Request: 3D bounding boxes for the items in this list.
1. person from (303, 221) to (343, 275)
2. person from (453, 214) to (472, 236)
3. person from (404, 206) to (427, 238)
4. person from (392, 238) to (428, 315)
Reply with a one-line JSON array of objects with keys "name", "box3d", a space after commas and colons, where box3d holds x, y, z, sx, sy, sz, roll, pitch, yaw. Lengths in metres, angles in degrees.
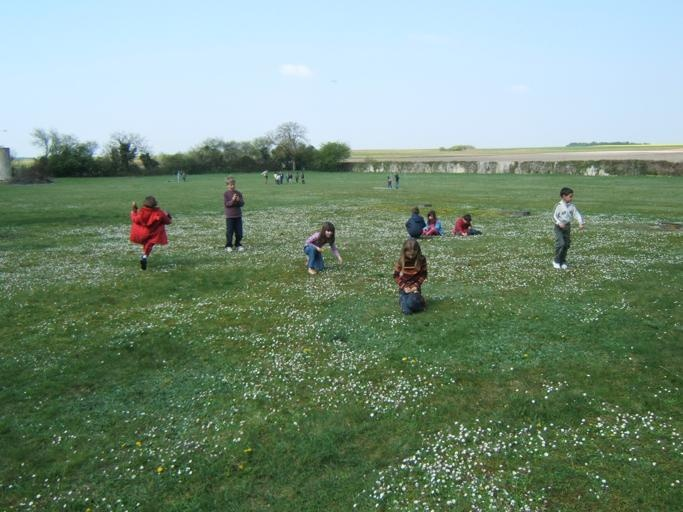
[{"name": "person", "box3d": [-0.586, -0.251, 14.702, 0.653, 1.508, 1.025, -11, 14, -42]}, {"name": "person", "box3d": [4.870, -1.338, 21.166, 0.803, 0.984, 0.781, -10, 17, -44]}, {"name": "person", "box3d": [2.783, -1.303, 19.923, 0.945, 1.439, 1.145, -1, 16, 1]}, {"name": "person", "box3d": [1.495, 0.416, 11.398, 0.602, 1.651, 0.563, 6, 13, 35]}]
